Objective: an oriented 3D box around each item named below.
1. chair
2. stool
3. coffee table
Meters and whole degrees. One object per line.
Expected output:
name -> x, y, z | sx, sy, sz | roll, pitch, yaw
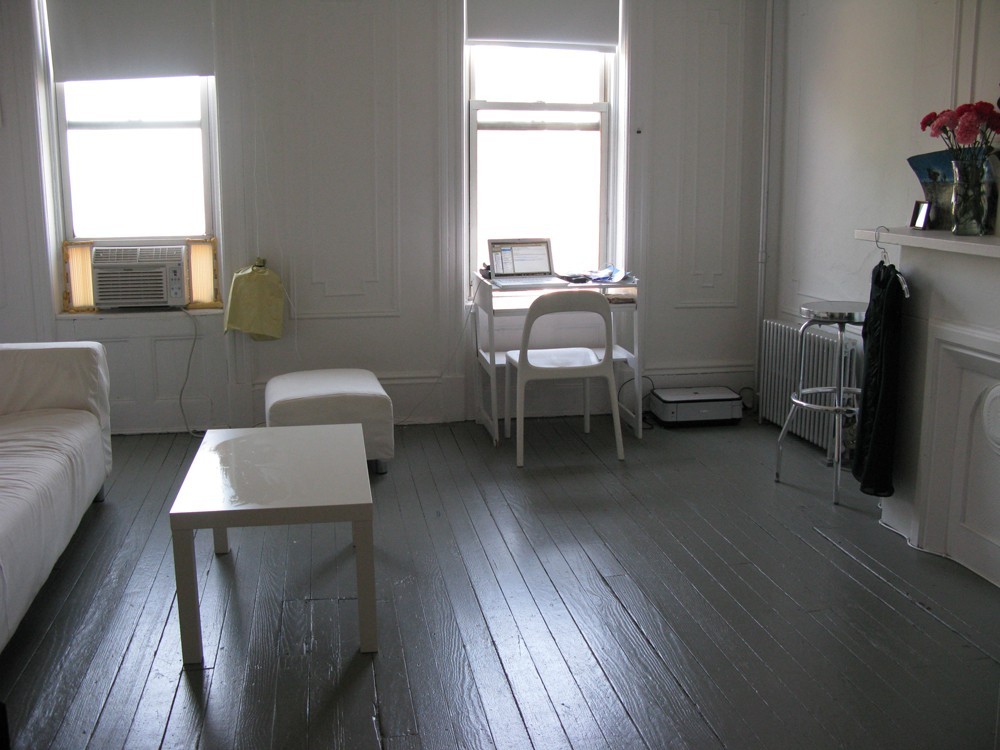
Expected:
chair -> 0.340, -0.062, 4.336 | 0.660, 0.930, 0.922 | -3, 15, 0
stool -> 1.672, 0.127, 3.705 | 0.527, 0.887, 0.538 | 9, -7, -38
coffee table -> -0.793, 0.734, 2.729 | 0.605, 0.481, 0.938 | 0, 19, -10
